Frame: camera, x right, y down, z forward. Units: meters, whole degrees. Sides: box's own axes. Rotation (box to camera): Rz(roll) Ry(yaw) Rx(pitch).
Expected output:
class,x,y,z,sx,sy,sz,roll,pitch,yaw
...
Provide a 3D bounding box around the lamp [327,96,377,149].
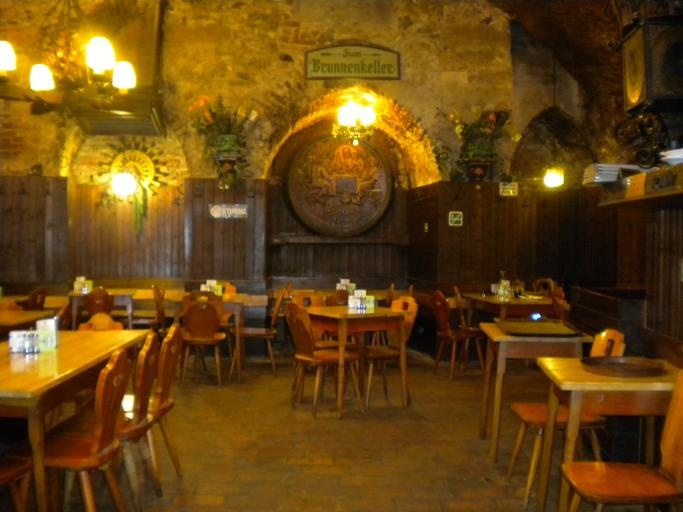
class,x,y,z,sx,sy,sz,roll,pitch,yaw
lamp,0.242,-2.178,9.829,0.641,0.846,0.366,6,8,2

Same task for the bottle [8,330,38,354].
class,x,y,z,sx,sy,sz,roll,pitch,yaw
bottle,-2.480,0.669,4.836,0.191,0.158,0.280,1,-2,-2

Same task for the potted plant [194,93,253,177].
class,x,y,z,sx,sy,sz,roll,pitch,yaw
potted plant,-1.830,-1.872,9.671,0.871,1.241,0.341,0,9,-5

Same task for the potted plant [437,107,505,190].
class,x,y,z,sx,sy,sz,roll,pitch,yaw
potted plant,2.097,-1.706,9.592,1.003,1.100,0.430,0,7,4

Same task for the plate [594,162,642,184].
class,x,y,z,sx,sy,sz,roll,pitch,yaw
plate,2.152,-0.649,4.800,0.271,0.153,0.313,-5,8,-40
